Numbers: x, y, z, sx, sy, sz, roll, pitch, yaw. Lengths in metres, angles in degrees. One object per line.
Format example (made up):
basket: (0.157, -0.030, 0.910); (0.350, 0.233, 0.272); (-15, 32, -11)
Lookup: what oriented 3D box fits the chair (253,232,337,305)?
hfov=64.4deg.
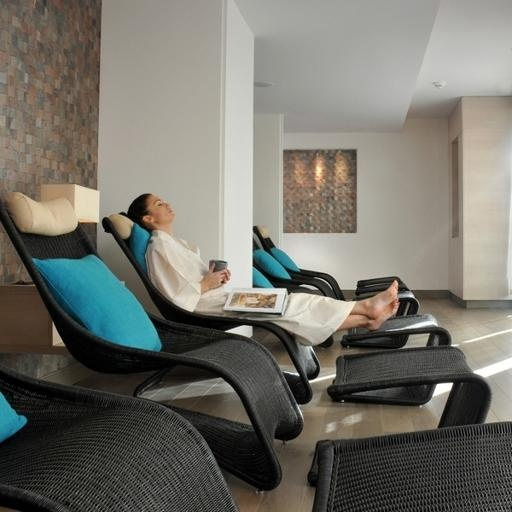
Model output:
chair: (0.428, 0.120, 4.459); (1.128, 0.636, 0.778); (9, 9, 14)

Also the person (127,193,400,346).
person: (-0.022, 0.120, 2.448); (1.717, 0.745, 0.612); (6, 3, 4)

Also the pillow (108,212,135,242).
pillow: (-0.792, -0.179, 2.393); (0.050, 0.143, 0.153); (-30, -28, 26)

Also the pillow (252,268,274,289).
pillow: (0.039, 0.230, 3.918); (0.196, 0.049, 0.202); (27, 5, 25)

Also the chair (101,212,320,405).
chair: (-0.329, 0.273, 2.387); (1.531, 0.952, 0.738); (3, -4, 7)

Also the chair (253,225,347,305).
chair: (0.537, 0.107, 4.649); (1.185, 0.674, 0.661); (11, 9, 5)

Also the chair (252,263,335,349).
chair: (0.421, 0.305, 3.988); (0.727, 0.787, 0.647); (8, 1, 13)

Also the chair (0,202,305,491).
chair: (-0.538, 0.330, 1.891); (1.521, 1.130, 0.732); (1, -3, 13)
